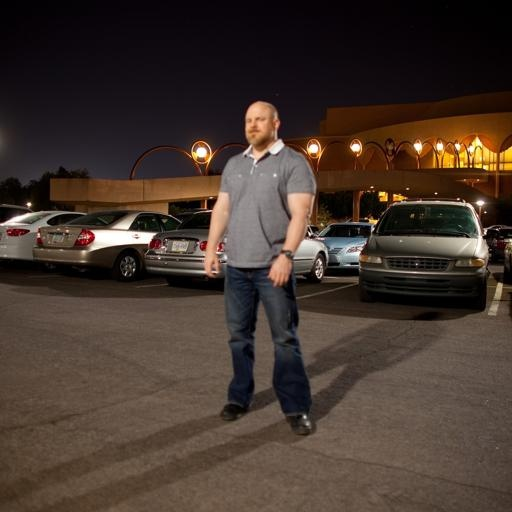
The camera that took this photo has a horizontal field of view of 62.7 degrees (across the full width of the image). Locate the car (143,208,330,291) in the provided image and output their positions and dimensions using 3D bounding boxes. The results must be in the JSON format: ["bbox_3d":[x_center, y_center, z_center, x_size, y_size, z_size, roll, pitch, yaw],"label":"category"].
[{"bbox_3d":[-0.062,-0.268,10.934,1.807,1.619,4.905,2,3,42],"label":"car"}]

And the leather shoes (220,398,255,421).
[{"bbox_3d":[-0.140,1.057,2.918,0.074,0.095,0.222,4,-5,32],"label":"leather shoes"}]

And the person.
[{"bbox_3d":[0.033,0.059,2.788,0.768,1.602,0.473,3,1,37],"label":"person"}]

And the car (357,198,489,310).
[{"bbox_3d":[3.452,-0.157,8.475,2.161,2.067,2.428,3,1,40],"label":"car"}]

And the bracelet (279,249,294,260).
[{"bbox_3d":[0.187,-0.013,2.522,0.061,0.064,0.021,0,0,30],"label":"bracelet"}]

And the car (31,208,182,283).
[{"bbox_3d":[-3.704,-0.372,11.132,1.657,1.230,3.729,3,5,38],"label":"car"}]

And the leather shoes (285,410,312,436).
[{"bbox_3d":[0.278,1.060,2.694,0.074,0.083,0.190,1,-7,-21],"label":"leather shoes"}]
